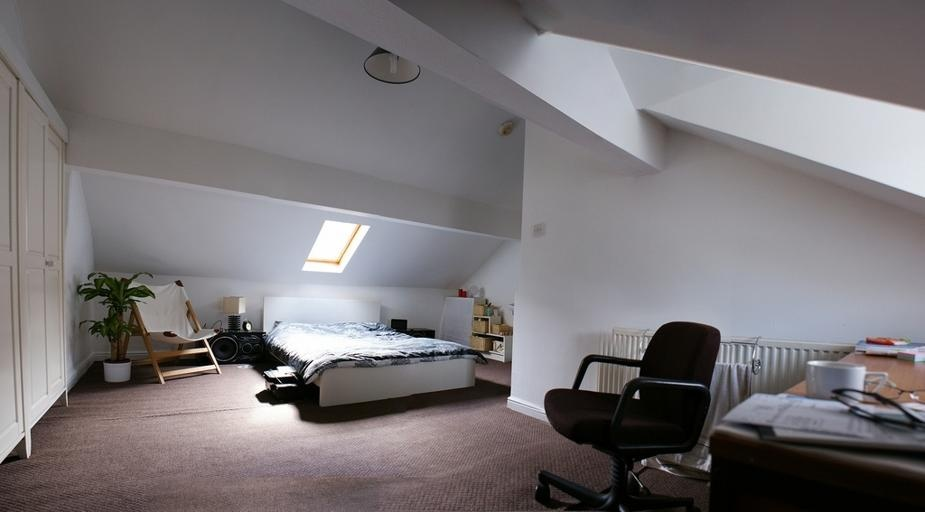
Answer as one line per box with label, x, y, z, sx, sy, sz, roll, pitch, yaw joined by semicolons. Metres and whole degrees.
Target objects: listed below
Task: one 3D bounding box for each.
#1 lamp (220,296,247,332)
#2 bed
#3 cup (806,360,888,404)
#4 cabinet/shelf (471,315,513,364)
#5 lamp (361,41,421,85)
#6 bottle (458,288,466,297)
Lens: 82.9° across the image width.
lamp;-3.372;0.839;7.608;0.428;0.551;0.317;7;17;14
bed;-1.496;1.195;6.857;1.623;0.740;1.975;1;-4;-28
cup;2.175;0.696;3.008;0.257;0.178;0.396;4;-2;-42
cabinet/shelf;0.488;1.344;8.377;0.292;0.636;0.765;1;-1;-33
lamp;-0.634;-1.790;4.804;0.540;0.183;0.528;1;0;32
bottle;-0.006;0.694;9.823;0.130;0.117;0.133;1;-2;15
